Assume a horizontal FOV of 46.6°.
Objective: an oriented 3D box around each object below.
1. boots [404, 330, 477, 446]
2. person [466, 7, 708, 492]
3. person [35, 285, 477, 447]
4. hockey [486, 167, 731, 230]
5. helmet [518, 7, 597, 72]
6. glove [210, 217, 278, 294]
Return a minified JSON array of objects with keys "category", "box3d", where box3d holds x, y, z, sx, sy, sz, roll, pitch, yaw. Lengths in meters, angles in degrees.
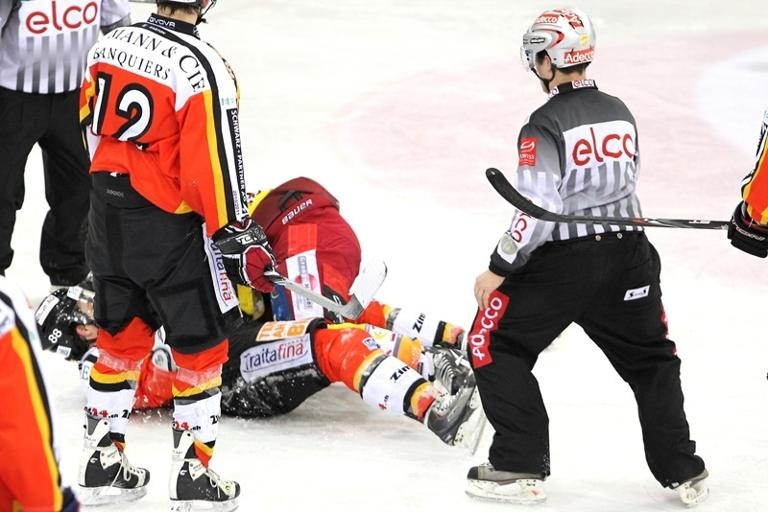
[{"category":"boots","box3d":[0.390,0.770,4.839,0.339,0.659,0.205,4,19,16]},{"category":"person","box3d":[1.025,0.012,4.378,1.100,2.398,0.507,8,9,4]},{"category":"person","box3d":[-0.457,0.600,5.112,1.738,0.514,1.174,5,6,12]},{"category":"hockey","box3d":[1.291,-0.247,4.388,1.615,0.207,0.162,3,-2,-13]},{"category":"helmet","box3d":[0.893,-1.107,4.513,0.316,0.307,0.346,-8,34,-16]},{"category":"glove","box3d":[-0.677,0.003,4.262,0.245,0.345,0.138,-38,19,-17]}]
